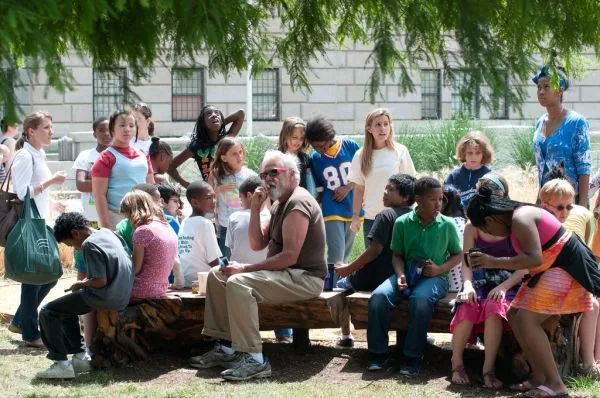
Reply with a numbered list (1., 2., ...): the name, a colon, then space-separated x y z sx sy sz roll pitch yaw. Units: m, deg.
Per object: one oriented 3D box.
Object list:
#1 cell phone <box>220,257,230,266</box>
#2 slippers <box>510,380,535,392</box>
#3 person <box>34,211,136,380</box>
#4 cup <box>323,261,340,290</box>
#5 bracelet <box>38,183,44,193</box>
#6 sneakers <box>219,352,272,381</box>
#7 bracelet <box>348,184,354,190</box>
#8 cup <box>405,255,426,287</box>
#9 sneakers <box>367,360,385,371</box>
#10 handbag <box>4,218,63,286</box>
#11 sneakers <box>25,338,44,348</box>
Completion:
1. cell phone: -0.738 0.610 7.047 0.086 0.091 0.106 2 -1 0
2. slippers: 1.983 1.664 6.437 0.200 0.058 0.079 -2 9 24
3. person: -2.070 0.999 6.907 0.912 1.370 0.384 -3 5 0
4. cup: 0.309 0.808 7.586 0.258 0.319 0.223 1 4 -1
5. bracelet: -2.850 -0.112 7.932 0.027 0.074 0.065 -1 -19 -8
6. sneakers: -0.493 1.573 6.782 0.567 0.289 0.197 3 -2 -16
7. bracelet: 0.599 -0.139 8.691 0.062 0.072 0.069 0 10 -25
8. cup: 1.122 0.717 7.023 0.205 0.327 0.149 -1 6 20
9. sneakers: 0.726 1.606 6.969 0.072 0.085 0.208 -4 -11 25
10. handbag: -2.718 0.526 7.309 0.585 0.820 0.434 4 -13 -37
11. sneakers: -2.844 1.552 7.722 0.198 0.075 0.112 -3 -2 30
